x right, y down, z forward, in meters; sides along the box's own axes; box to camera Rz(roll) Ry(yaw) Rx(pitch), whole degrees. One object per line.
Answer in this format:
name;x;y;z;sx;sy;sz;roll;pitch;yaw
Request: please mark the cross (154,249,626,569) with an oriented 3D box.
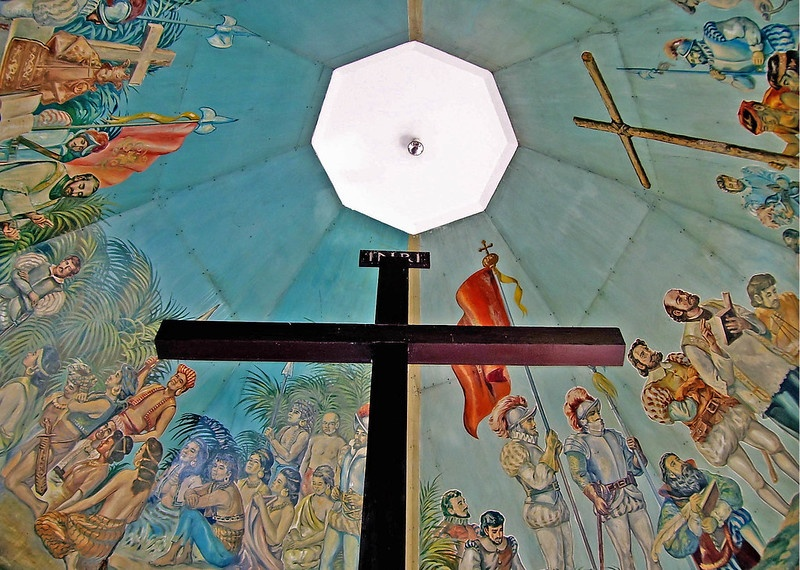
cross;-0.134;0.895;7.024;4.915;3.520;1.913;11;-73;-2
